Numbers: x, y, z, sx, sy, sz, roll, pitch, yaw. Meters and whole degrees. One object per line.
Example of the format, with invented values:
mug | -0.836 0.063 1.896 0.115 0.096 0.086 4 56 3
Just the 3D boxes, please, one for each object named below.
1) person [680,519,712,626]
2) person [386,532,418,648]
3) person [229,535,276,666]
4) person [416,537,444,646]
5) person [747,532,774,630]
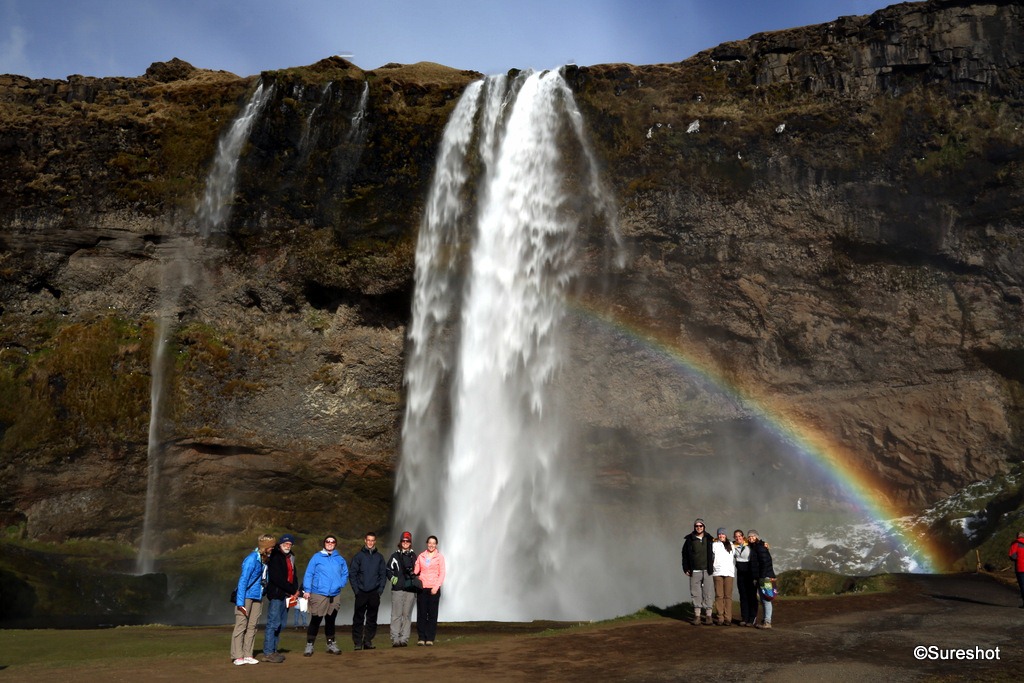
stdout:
person | 4.740 5.763 20.893 0.733 2.600 0.841 -2 -5 12
person | -2.605 5.795 19.492 0.684 2.651 0.682 0 -5 -8
person | -5.692 5.562 17.919 0.790 2.679 0.532 1 -6 -17
person | -2.010 5.904 19.765 0.654 2.598 1.072 0 -5 -6
person | 6.256 5.882 20.606 0.546 2.262 0.862 -2 -5 14
